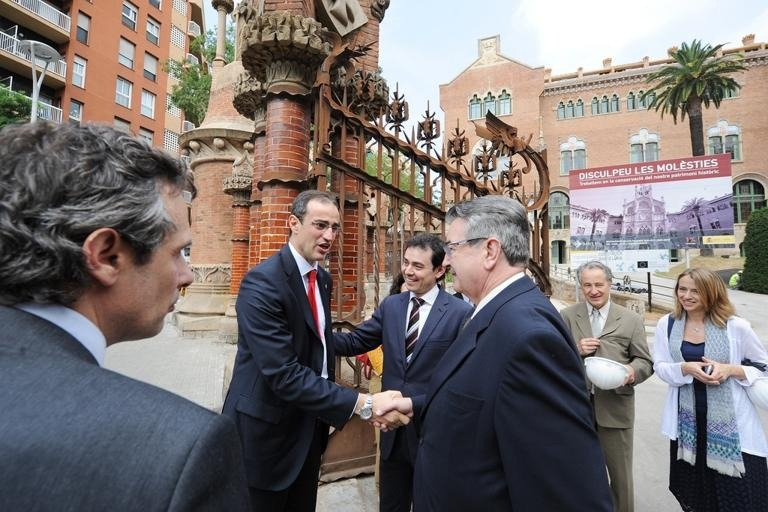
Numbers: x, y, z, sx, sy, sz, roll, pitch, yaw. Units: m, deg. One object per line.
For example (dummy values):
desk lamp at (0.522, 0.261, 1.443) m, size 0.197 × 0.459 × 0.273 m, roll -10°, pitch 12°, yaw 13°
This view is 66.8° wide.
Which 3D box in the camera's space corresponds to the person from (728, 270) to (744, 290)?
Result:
person at (16.159, 1.116, 26.663) m, size 0.463 × 0.830 × 0.383 m, roll 8°, pitch -14°, yaw -32°

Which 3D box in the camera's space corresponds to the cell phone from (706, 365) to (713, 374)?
cell phone at (3.932, 1.370, 7.035) m, size 0.087 × 0.096 × 0.052 m, roll 1°, pitch -2°, yaw 28°

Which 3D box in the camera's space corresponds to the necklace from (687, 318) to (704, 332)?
necklace at (3.972, 0.873, 7.388) m, size 0.160 × 0.157 × 0.052 m, roll 7°, pitch -5°, yaw 31°
